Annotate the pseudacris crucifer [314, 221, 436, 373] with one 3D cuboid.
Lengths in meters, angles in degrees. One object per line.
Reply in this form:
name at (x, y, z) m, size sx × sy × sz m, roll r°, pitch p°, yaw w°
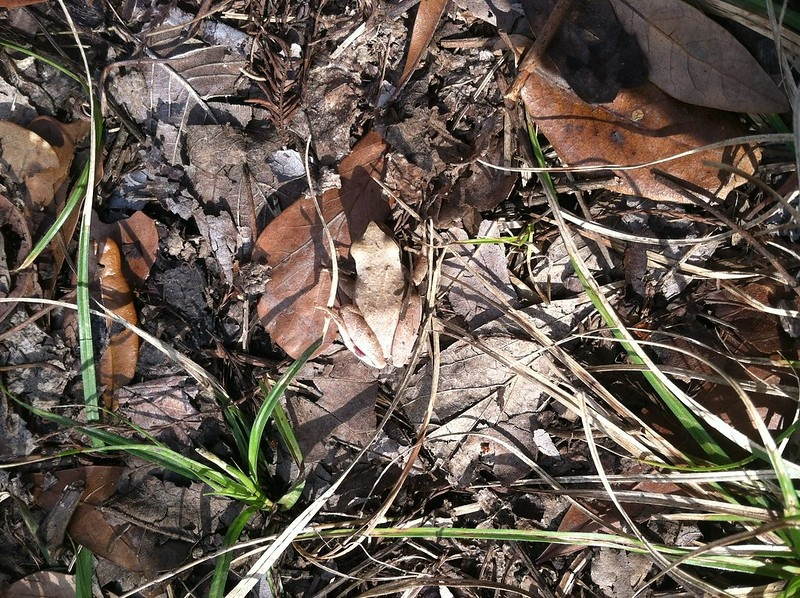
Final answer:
pseudacris crucifer at (-0.090, -0.020, 3.458) m, size 0.585 × 0.178 × 0.610 m, roll -6°, pitch 92°, yaw -12°
